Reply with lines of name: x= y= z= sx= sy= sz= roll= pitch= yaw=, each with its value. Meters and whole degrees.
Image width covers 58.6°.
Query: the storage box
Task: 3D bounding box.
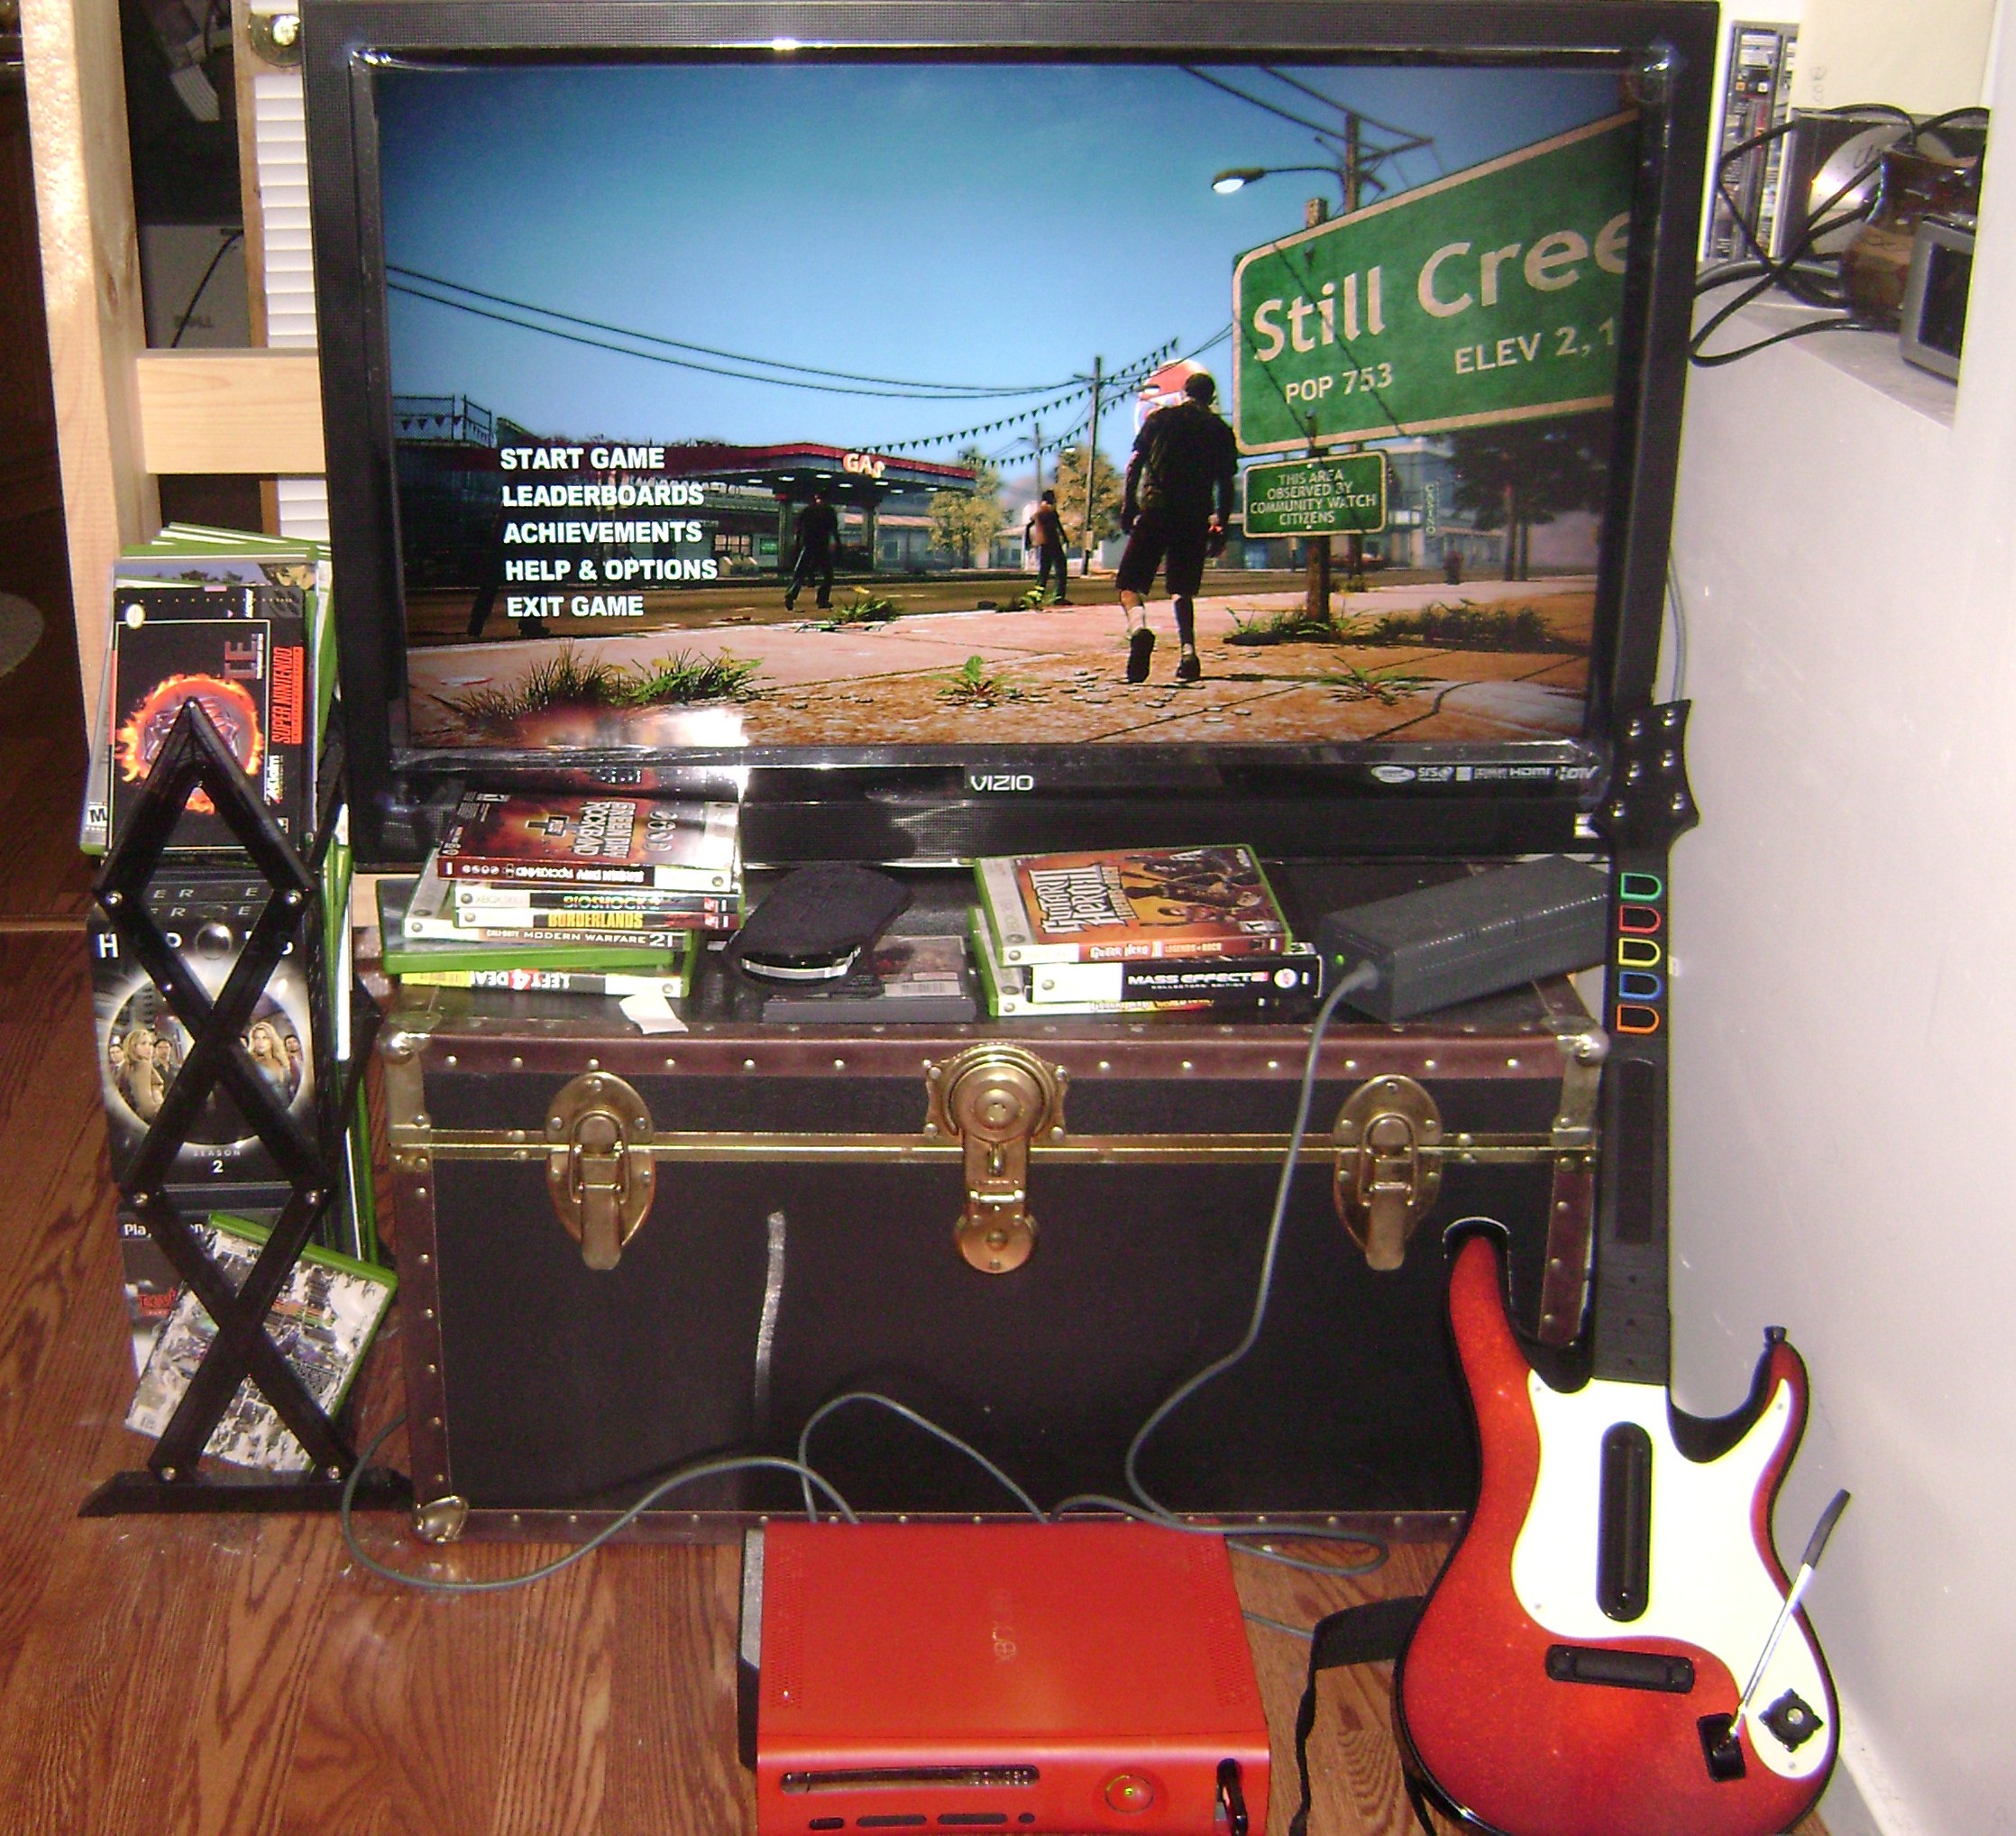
storage box: x=-0.036 y=0.269 z=2.051 sx=1.141 sy=0.557 sz=0.689 roll=1 pitch=17 yaw=-6
